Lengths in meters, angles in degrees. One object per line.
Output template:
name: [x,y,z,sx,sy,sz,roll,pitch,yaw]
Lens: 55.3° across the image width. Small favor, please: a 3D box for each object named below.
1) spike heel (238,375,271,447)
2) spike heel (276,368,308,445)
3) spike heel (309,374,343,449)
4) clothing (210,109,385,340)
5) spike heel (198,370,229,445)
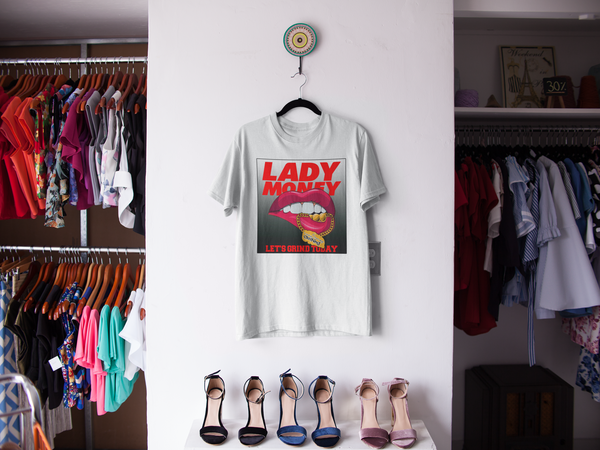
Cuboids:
spike heel: [-0.267,1.059,3.278,0.157,0.353,0.238,-1,-6,-4]
spike heel: [-0.050,1.038,3.285,0.122,0.159,0.387,-1,36,-6]
spike heel: [0.137,1.067,3.276,0.119,0.098,0.391,-4,36,-1]
clothing: [0.017,-0.047,3.326,1.061,1.550,0.266,-1,2,-2]
spike heel: [-0.493,1.043,3.285,0.157,0.381,0.223,0,-6,-10]
